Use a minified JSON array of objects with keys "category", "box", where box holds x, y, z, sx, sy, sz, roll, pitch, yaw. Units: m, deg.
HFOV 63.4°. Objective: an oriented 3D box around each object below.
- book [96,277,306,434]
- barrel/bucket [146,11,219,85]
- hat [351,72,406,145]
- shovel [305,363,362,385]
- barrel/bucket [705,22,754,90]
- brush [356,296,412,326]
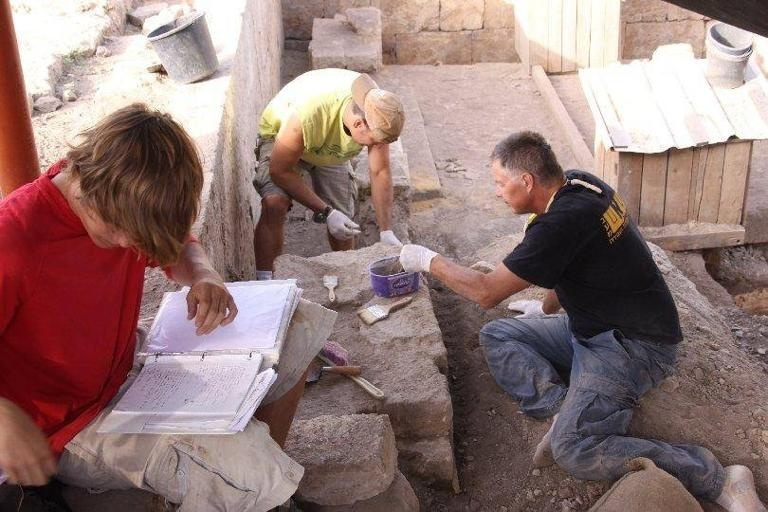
[{"category":"book","box":[-0.752,0.473,2.620,0.568,0.107,0.621,0,48,14]},{"category":"barrel/bucket","box":[-1.637,-1.683,5.058,0.570,0.428,0.551,-12,34,8]},{"category":"hat","box":[0.008,-1.051,4.297,0.303,0.490,0.234,-29,5,-38]},{"category":"shovel","box":[-0.278,0.654,3.466,0.218,0.035,0.125,-1,17,5]},{"category":"barrel/bucket","box":[2.976,-1.680,5.339,0.344,0.369,0.354,-12,40,10]},{"category":"brush","box":[0.006,0.333,3.926,0.337,0.034,0.138,-28,33,-37]}]
